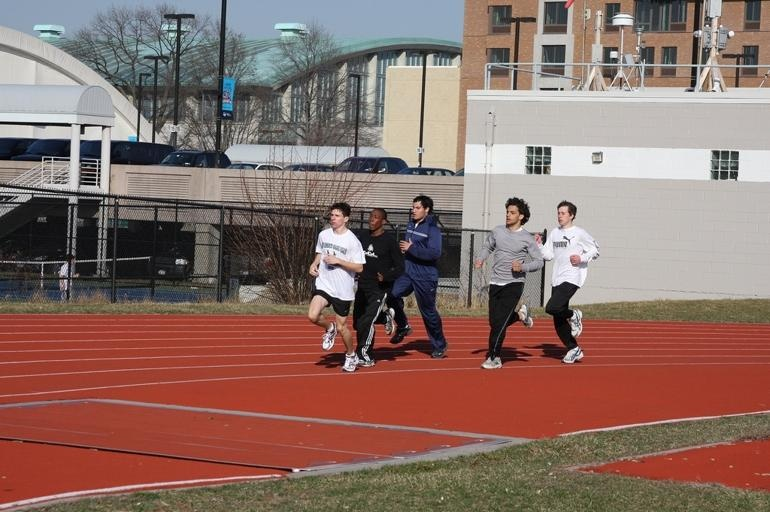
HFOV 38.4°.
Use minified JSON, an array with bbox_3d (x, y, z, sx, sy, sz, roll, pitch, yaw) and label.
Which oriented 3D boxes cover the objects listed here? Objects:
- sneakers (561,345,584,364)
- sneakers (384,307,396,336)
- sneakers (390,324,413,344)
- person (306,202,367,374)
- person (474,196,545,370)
[{"bbox_3d":[3.885,2.007,22.462,0.236,0.284,0.648,-1,5,41],"label":"sneakers"},{"bbox_3d":[0.044,1.360,21.745,0.205,0.586,0.258,2,17,16],"label":"sneakers"},{"bbox_3d":[0.305,1.623,22.821,0.278,0.561,0.187,43,6,-49],"label":"sneakers"},{"bbox_3d":[-0.896,0.594,20.552,1.021,3.151,0.796,0,1,-4],"label":"person"},{"bbox_3d":[2.406,0.540,21.109,1.060,3.276,0.672,0,1,4],"label":"person"}]
